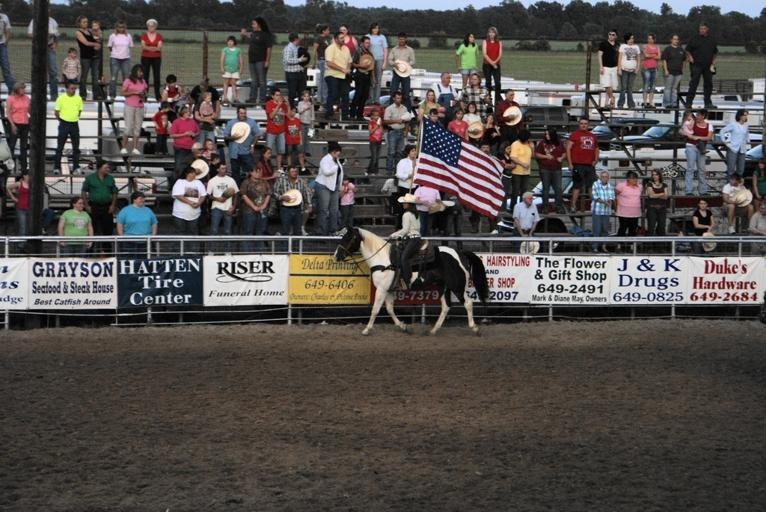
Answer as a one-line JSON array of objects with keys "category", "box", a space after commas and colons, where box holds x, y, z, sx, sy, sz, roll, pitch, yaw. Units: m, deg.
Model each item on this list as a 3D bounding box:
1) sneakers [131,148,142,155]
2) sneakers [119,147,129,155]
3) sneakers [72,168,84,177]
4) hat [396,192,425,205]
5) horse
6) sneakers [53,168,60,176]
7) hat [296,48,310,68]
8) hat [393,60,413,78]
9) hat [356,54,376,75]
[{"category": "sneakers", "box": [-7.711, -3.269, 48.041, 0.214, 0.132, 0.357, -1, 2, -18]}, {"category": "sneakers", "box": [-7.939, -3.206, 47.081, 0.425, 0.162, 0.132, 27, 48, 34]}, {"category": "sneakers", "box": [-9.552, -2.632, 48.127, 0.281, 0.133, 0.421, -2, 10, -16]}, {"category": "hat", "box": [0.714, -1.574, 42.124, 0.482, 0.281, 0.737, 3, 7, 30]}, {"category": "horse", "box": [0.876, 0.605, 41.985, 3.944, 2.953, 1.116, -1, 6, -2]}, {"category": "sneakers", "box": [-9.993, -2.608, 47.232, 0.138, 0.083, 0.233, -2, 23, -16]}, {"category": "hat", "box": [-2.582, -6.474, 49.973, 0.498, 0.490, 0.587, 1, 6, -1]}, {"category": "hat", "box": [0.652, -6.119, 50.282, 0.577, 0.560, 0.315, -4, 7, -29]}, {"category": "hat", "box": [-0.524, -6.195, 49.502, 0.618, 0.599, 0.616, 2, 7, 23]}]
